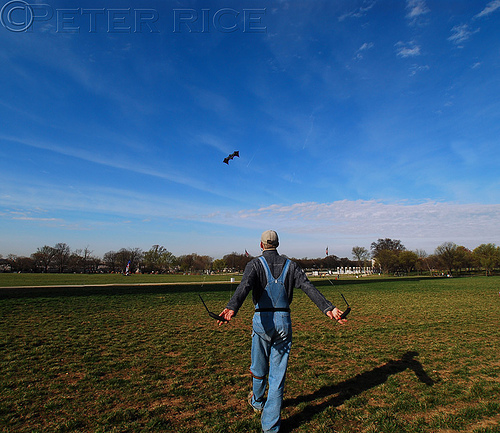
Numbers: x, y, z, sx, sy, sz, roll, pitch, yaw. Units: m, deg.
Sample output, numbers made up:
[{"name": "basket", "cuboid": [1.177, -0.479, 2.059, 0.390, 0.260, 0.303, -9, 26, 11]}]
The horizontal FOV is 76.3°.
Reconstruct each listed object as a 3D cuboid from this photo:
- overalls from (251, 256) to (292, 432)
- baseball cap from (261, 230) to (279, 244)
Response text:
[{"name": "overalls", "cuboid": [0.386, 2.274, 5.774, 0.745, 3.086, 0.396, -2, -8, 15]}, {"name": "baseball cap", "cuboid": [0.383, 0.397, 5.903, 0.302, 0.252, 0.444, 4, -3, 0]}]
